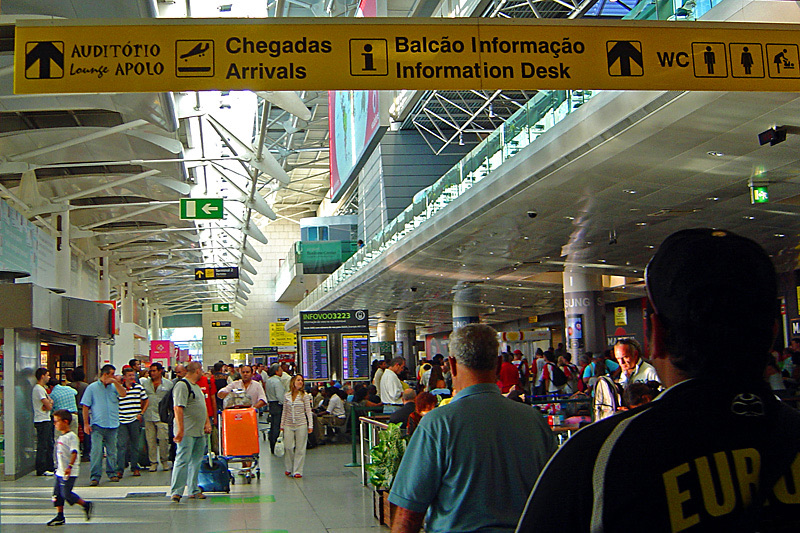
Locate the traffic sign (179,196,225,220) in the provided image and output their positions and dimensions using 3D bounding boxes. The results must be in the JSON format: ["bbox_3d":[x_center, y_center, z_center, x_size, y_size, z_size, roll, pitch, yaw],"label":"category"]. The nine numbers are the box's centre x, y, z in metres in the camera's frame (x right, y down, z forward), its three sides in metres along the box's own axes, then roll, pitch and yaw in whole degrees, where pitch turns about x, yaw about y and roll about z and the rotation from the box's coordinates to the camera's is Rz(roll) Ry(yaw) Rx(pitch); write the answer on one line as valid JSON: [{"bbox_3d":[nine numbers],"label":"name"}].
[{"bbox_3d":[-7.440,-2.225,24.013,1.701,0.703,0.196,0,-1,-4],"label":"traffic sign"}]

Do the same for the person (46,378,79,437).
[{"bbox_3d":[-7.372,3.269,13.972,0.703,1.475,0.620,-4,-5,-34],"label":"person"}]

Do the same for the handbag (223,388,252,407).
[{"bbox_3d":[-3.139,2.614,12.601,0.778,0.380,0.352,5,-13,-28],"label":"handbag"}]

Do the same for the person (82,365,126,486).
[{"bbox_3d":[-5.825,3.076,12.575,0.818,2.180,0.878,-21,-20,32],"label":"person"}]

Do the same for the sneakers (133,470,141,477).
[{"bbox_3d":[-5.491,4.327,13.375,0.099,0.078,0.239,2,-13,-23],"label":"sneakers"}]

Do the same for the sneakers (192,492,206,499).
[{"bbox_3d":[-3.348,3.827,10.661,0.268,0.076,0.084,-3,-7,12],"label":"sneakers"}]

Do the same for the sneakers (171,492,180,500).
[{"bbox_3d":[-3.600,3.712,10.294,0.133,0.143,0.228,7,-11,-19],"label":"sneakers"}]

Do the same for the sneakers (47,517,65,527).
[{"bbox_3d":[-4.875,3.587,9.073,0.241,0.126,0.242,6,-10,-19],"label":"sneakers"}]

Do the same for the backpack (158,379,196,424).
[{"bbox_3d":[-3.948,2.424,11.301,0.508,0.609,0.558,-8,-1,8],"label":"backpack"}]
